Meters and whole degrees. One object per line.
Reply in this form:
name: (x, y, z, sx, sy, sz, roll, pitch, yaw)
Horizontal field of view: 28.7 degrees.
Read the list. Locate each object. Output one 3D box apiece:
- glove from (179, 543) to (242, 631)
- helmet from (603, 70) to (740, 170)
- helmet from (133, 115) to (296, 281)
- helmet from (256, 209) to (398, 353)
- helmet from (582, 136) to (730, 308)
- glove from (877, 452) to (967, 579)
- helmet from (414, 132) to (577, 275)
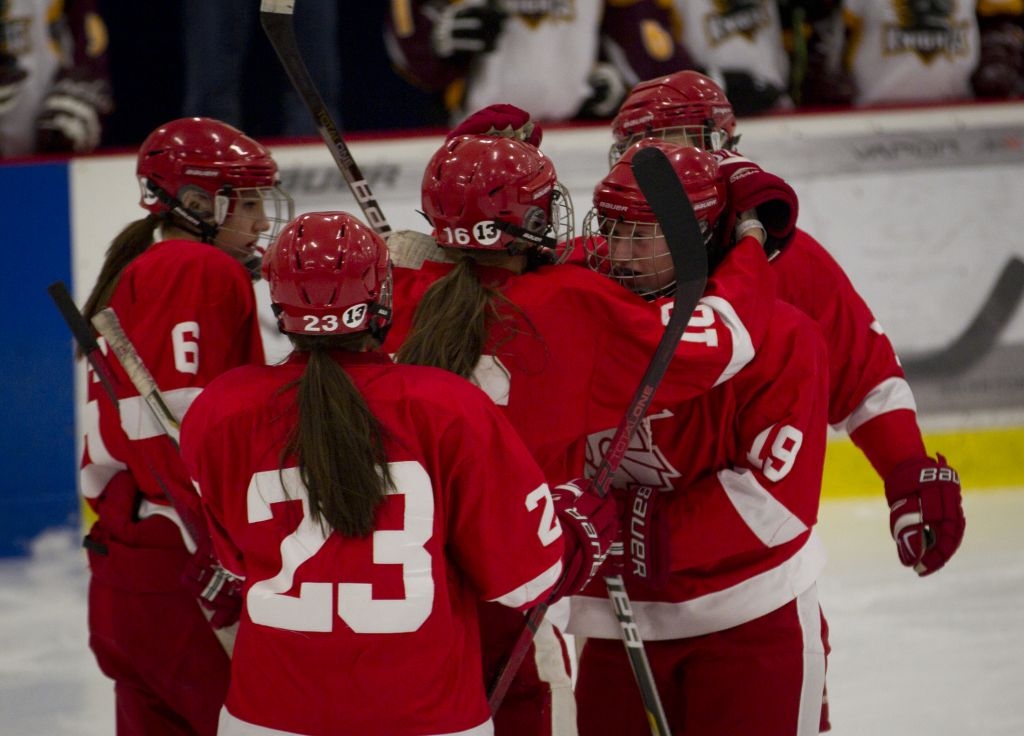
glove: (-0.932, 0.641, 6.262, 0.218, 0.087, 0.239, -28, -16, -4)
helmet: (0.600, -0.832, 7.043, 0.440, 0.418, 0.365, 5, -13, -40)
helmet: (-1.064, -0.574, 6.871, 0.539, 0.533, 0.401, 8, 8, -7)
helmet: (-0.570, -0.281, 6.148, 0.401, 0.416, 0.487, -1, 11, -3)
helmet: (0.480, -0.484, 6.498, 0.537, 0.525, 0.414, -17, 32, -25)
glove: (1.363, 0.494, 6.629, 0.281, 0.383, 0.166, 11, -1, 44)
helmet: (-0.048, -0.523, 6.415, 0.509, 0.440, 0.426, -9, 14, -40)
